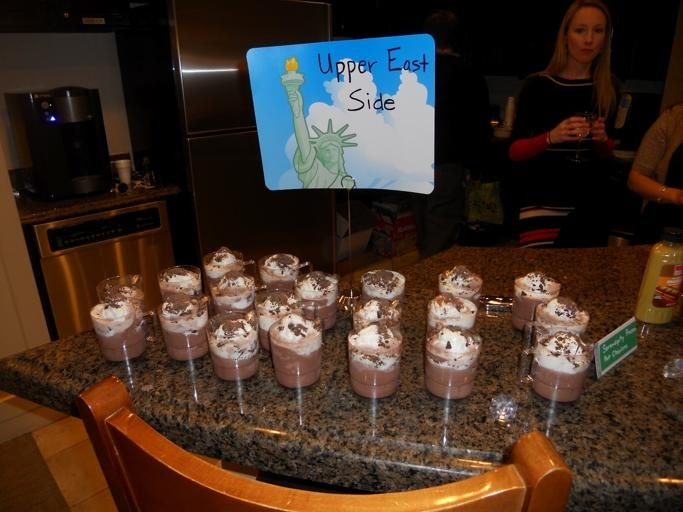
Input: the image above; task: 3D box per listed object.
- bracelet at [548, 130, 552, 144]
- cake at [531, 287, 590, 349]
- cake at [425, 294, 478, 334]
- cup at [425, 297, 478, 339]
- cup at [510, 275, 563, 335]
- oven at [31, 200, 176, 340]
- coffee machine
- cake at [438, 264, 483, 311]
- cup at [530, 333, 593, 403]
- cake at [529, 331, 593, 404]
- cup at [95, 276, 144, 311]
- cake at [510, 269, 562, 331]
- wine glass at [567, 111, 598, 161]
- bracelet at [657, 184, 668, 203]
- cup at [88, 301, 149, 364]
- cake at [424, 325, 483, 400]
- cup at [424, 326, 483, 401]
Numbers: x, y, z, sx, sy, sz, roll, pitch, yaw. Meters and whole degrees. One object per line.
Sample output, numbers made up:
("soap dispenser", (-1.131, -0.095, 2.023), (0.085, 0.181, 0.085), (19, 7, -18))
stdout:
("bracelet", (0.896, -0.508, 2.306), (0.017, 0.049, 0.013), (6, 24, 19))
("cake", (0.655, 0.193, 1.591), (0.140, 0.141, 0.134), (-32, 42, -22))
("cake", (0.322, 0.152, 1.609), (0.125, 0.115, 0.122), (-20, 26, -37))
("cup", (0.331, 0.197, 1.629), (0.161, 0.146, 0.159), (-3, 19, 1))
("cup", (0.591, 0.151, 1.628), (0.104, 0.165, 0.117), (15, 33, 29))
("oven", (-1.213, 0.047, 2.636), (0.339, 0.584, 0.639), (14, 26, 41))
("coffee machine", (-1.541, -0.652, 3.082), (0.213, 0.590, 0.478), (15, 27, 36))
("cake", (0.366, 0.090, 1.702), (0.125, 0.130, 0.123), (-1, 18, 2))
("cup", (0.590, 0.296, 1.490), (0.179, 0.173, 0.132), (2, 18, 0))
("cake", (0.612, 0.303, 1.505), (0.155, 0.166, 0.151), (-9, 22, -44))
("cup", (-0.692, 0.099, 1.738), (0.152, 0.125, 0.114), (-7, 15, -39))
("cake", (0.609, 0.148, 1.716), (0.123, 0.193, 0.133), (-17, 28, -38))
("wine glass", (0.914, -0.457, 2.070), (0.137, 0.193, 0.114), (1, -12, 18))
("bracelet", (1.415, -0.277, 2.372), (0.021, 0.060, 0.055), (5, 16, 28))
("cup", (-0.681, 0.228, 1.658), (0.135, 0.146, 0.141), (1, 22, 0))
("cake", (0.313, 0.287, 1.518), (0.164, 0.177, 0.166), (19, 29, 39))
("cup", (0.305, 0.287, 1.515), (0.161, 0.173, 0.162), (2, 22, -1))
